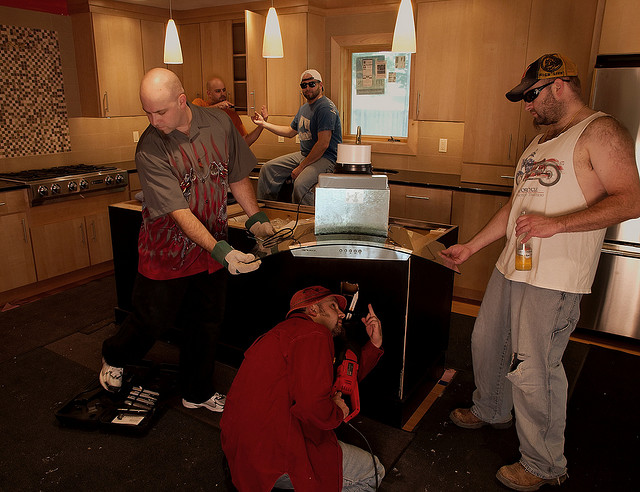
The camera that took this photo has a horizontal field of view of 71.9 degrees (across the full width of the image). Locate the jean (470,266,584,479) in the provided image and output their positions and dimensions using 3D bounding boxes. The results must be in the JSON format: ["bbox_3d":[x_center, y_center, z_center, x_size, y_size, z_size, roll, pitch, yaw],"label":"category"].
[{"bbox_3d":[1.126,0.663,2.396,0.350,1.012,0.613,-5,20,-14],"label":"jean"}]

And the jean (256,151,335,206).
[{"bbox_3d":[-0.208,-0.718,4.745,0.672,0.488,1.046,-15,26,-35],"label":"jean"}]

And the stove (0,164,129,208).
[{"bbox_3d":[-2.757,-0.682,4.809,0.550,0.302,1.158,15,26,34],"label":"stove"}]

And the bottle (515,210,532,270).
[{"bbox_3d":[1.041,-0.019,2.230,0.113,0.280,0.116,0,2,0],"label":"bottle"}]

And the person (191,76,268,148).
[{"bbox_3d":[-1.010,-1.496,4.991,1.031,0.548,0.444,33,34,27],"label":"person"}]

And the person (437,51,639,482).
[{"bbox_3d":[1.256,0.048,2.587,0.747,2.164,1.443,8,21,24],"label":"person"}]
